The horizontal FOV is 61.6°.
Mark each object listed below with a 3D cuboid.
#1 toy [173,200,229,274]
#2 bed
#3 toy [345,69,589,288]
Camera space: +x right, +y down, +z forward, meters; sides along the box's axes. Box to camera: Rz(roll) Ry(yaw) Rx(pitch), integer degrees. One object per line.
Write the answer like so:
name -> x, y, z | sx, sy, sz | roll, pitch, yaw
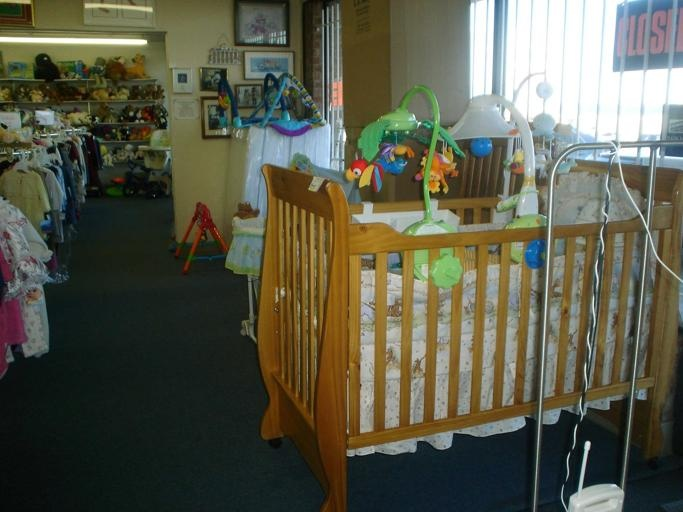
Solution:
toy -> -1.427, -0.233, 5.913 | 0.565, 0.692, 0.569 | 0, 24, -14
bed -> 0.559, 0.124, 3.047 | 1.803, 1.578, 1.325 | -3, 12, -22
toy -> 0.463, -0.386, 2.883 | 1.215, 1.225, 0.661 | -1, 6, -11
